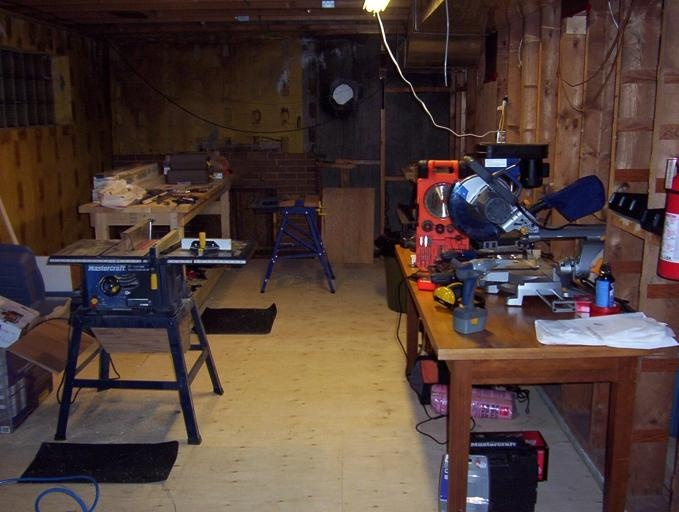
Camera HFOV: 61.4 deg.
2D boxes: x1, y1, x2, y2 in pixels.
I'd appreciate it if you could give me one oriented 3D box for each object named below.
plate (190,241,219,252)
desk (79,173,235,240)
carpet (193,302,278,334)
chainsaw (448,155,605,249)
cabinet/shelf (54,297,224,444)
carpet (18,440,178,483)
[{"bbox_3d":[-0.886,-0.072,3.679,0.225,0.078,0.082,2,14,16],"label":"plate"},{"bbox_3d":[-1.996,-0.578,6.190,1.380,0.732,2.239,3,12,-2],"label":"desk"},{"bbox_3d":[-1.003,0.604,5.496,0.910,0.037,0.780,13,13,6],"label":"carpet"},{"bbox_3d":[1.074,-0.317,3.337,0.891,0.530,0.387,-5,14,-13],"label":"chainsaw"},{"bbox_3d":[-1.359,0.640,3.988,0.818,1.141,0.739,0,6,3],"label":"cabinet/shelf"},{"bbox_3d":[-1.476,1.281,3.544,0.902,0.090,0.406,-2,12,-1],"label":"carpet"}]
